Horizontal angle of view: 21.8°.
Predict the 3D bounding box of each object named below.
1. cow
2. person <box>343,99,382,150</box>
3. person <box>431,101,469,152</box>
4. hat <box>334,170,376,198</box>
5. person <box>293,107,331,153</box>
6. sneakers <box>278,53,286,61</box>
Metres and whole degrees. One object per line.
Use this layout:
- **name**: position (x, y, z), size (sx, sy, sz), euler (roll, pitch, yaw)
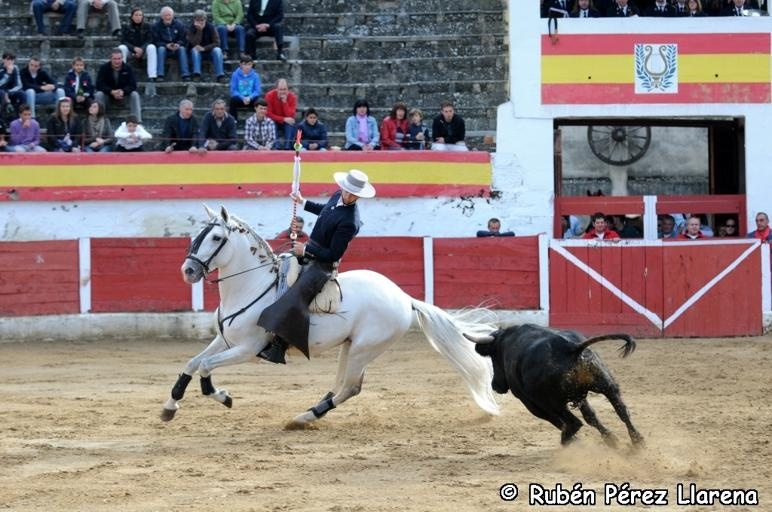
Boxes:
- **cow**: position (2.551, 2.092, 32.077), size (1.235, 1.881, 3.624), euler (-10, 10, -25)
- **person**: position (-0.437, -2.509, 38.324), size (0.766, 0.954, 0.713), euler (-3, 5, -25)
- **person**: position (1.204, -2.436, 38.283), size (0.777, 0.913, 0.937), euler (-1, 10, 0)
- **hat**: position (-0.572, -1.132, 32.207), size (0.526, 0.156, 0.525), euler (12, 30, -31)
- **person**: position (-1.392, -2.373, 38.272), size (0.801, 1.114, 0.820), euler (-2, 24, -11)
- **sneakers**: position (-2.067, -3.984, 40.282), size (0.129, 0.078, 0.171), euler (-6, 30, -20)
